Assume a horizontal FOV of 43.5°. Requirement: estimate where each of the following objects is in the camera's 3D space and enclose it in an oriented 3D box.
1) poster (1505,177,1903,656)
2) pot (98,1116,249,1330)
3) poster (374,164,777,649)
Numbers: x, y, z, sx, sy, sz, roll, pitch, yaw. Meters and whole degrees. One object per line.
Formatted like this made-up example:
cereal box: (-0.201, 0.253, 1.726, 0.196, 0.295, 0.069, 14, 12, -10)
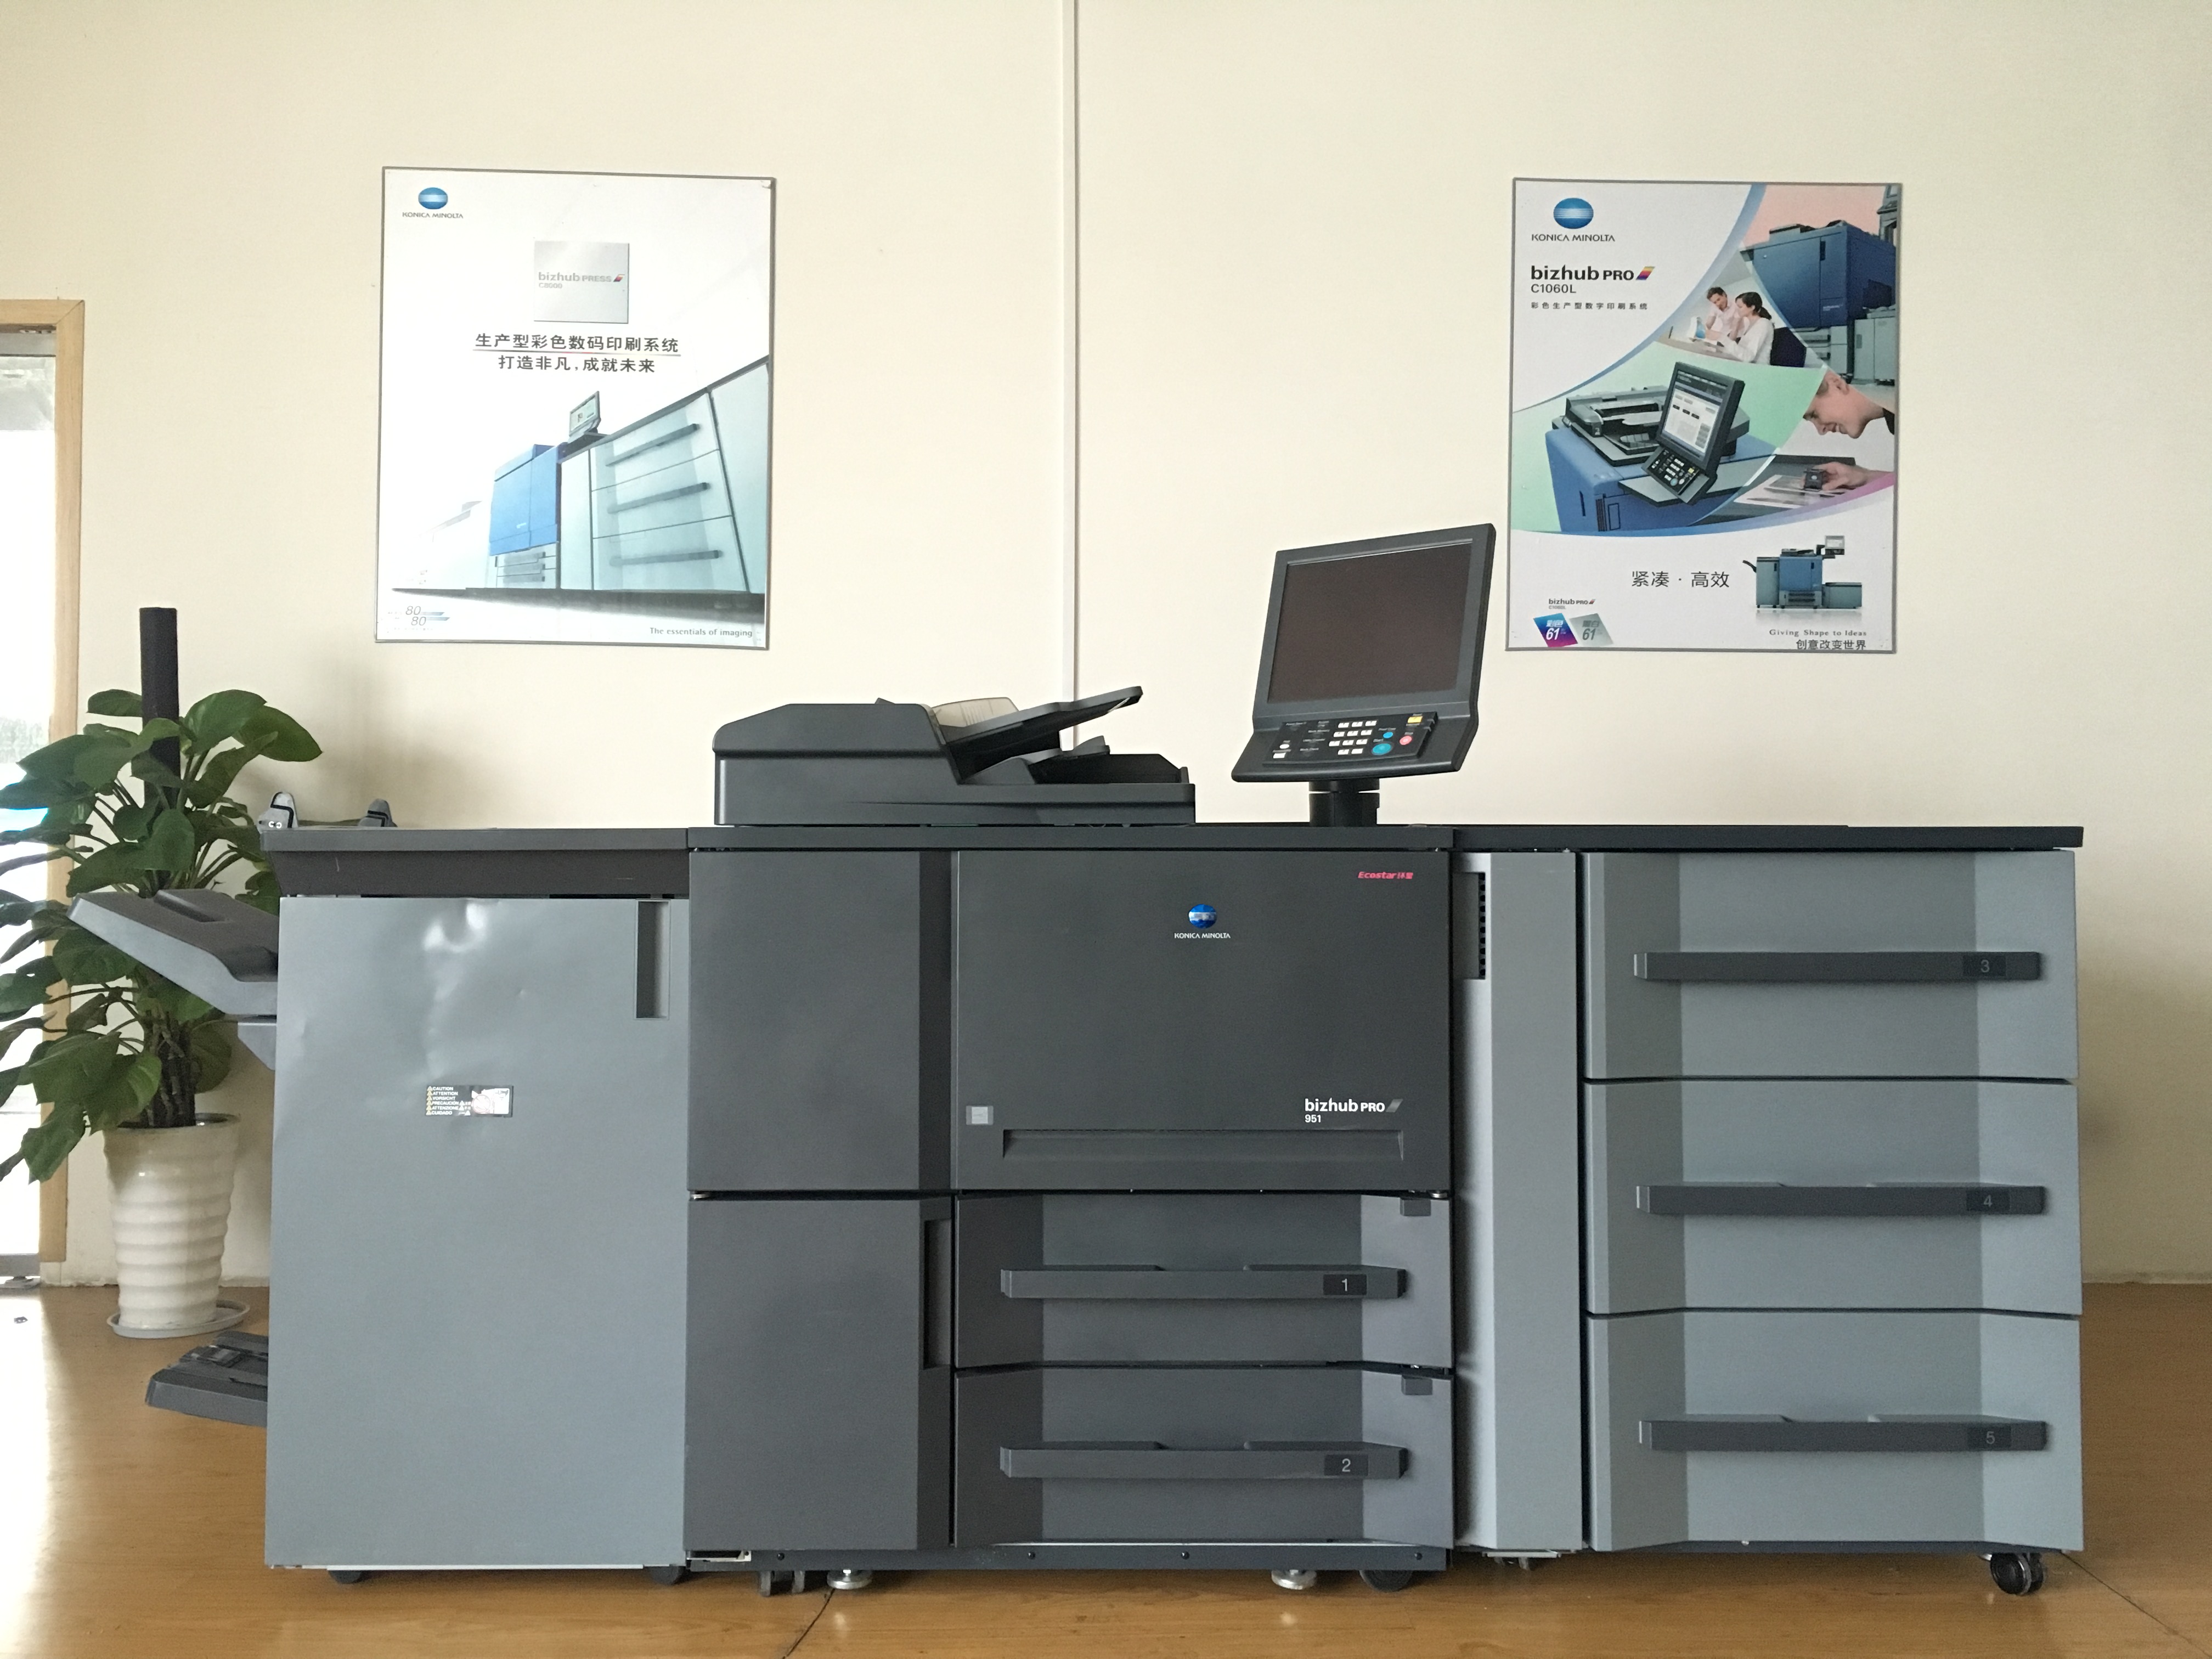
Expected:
poster: (1.256, -0.871, 5.990, 0.973, 1.172, 0.048, 0, -5, 1)
pot: (-1.947, 0.840, 5.813, 0.275, 0.438, 0.272, -2, -3, 0)
poster: (-1.174, -0.889, 5.952, 0.975, 1.142, 0.043, -1, -4, -2)
